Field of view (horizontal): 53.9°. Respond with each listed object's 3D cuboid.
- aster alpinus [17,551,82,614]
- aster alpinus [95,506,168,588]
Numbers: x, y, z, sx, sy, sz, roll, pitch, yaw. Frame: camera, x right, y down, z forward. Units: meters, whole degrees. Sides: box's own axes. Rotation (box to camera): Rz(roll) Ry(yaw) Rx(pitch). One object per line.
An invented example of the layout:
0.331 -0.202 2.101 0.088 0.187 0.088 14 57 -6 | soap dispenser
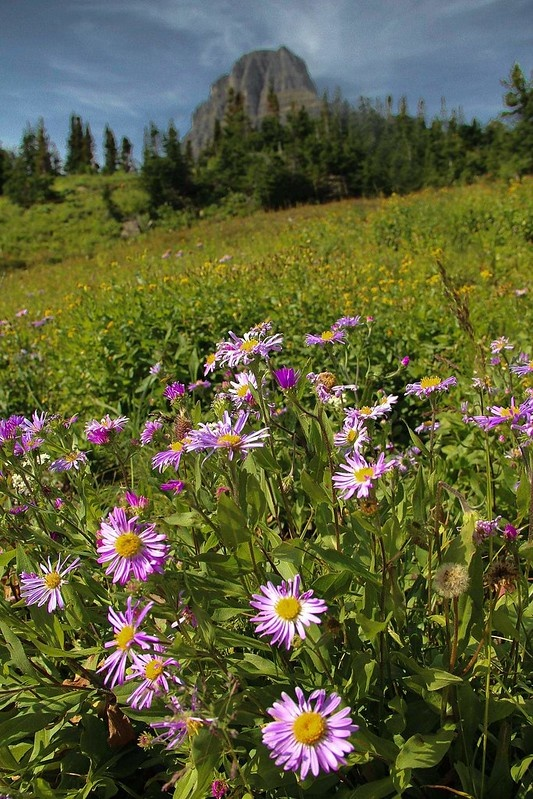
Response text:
-0.443 0.374 1.083 0.124 0.060 0.120 10 29 31 | aster alpinus
-0.228 0.246 0.880 0.127 0.039 0.147 12 18 31 | aster alpinus
